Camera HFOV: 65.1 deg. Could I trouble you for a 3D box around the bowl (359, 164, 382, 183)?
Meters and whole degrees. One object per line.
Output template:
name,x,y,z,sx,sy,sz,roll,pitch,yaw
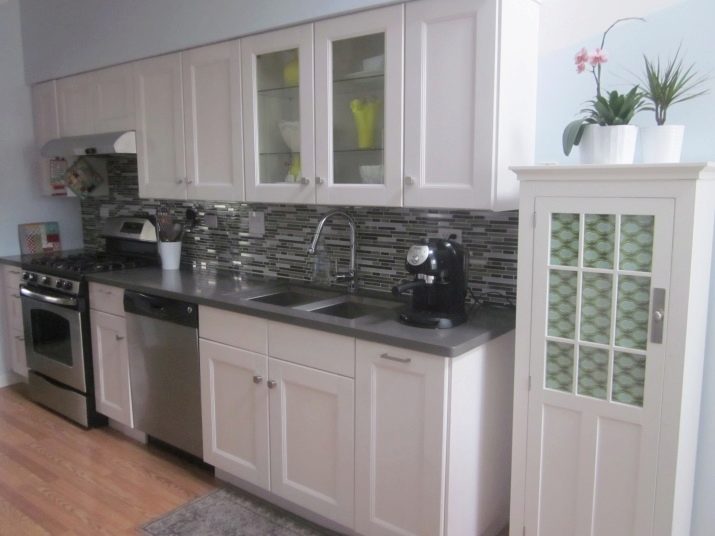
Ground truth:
bowl,0.069,-0.451,2.692,0.032,0.089,0.137,-13,17,-42

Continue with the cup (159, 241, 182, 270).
cup,-1.294,-0.087,3.873,0.141,0.200,0.119,-7,13,-22

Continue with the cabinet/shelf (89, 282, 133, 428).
cabinet/shelf,-1.558,0.547,3.538,0.138,0.877,0.452,-13,17,-43

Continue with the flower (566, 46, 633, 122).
flower,1.028,-0.769,2.336,0.224,0.344,0.377,3,13,21

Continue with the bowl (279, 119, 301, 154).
bowl,-0.332,-0.702,2.983,0.149,0.157,0.057,13,29,37

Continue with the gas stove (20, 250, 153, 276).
gas stove,-1.896,-0.030,3.985,0.891,0.061,0.592,7,15,35

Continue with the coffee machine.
coffee machine,0.335,0.067,2.576,0.325,0.391,0.407,7,8,35

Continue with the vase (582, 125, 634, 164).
vase,0.994,-0.482,2.280,0.169,0.143,0.204,0,8,-9

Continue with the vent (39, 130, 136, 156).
vent,-1.878,-0.870,3.912,0.954,0.158,0.184,8,15,37

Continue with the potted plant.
potted plant,1.192,-0.638,2.171,0.174,0.442,0.481,5,14,27

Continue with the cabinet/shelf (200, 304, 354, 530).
cabinet/shelf,-0.381,0.742,2.783,1.024,0.875,0.557,6,8,36
